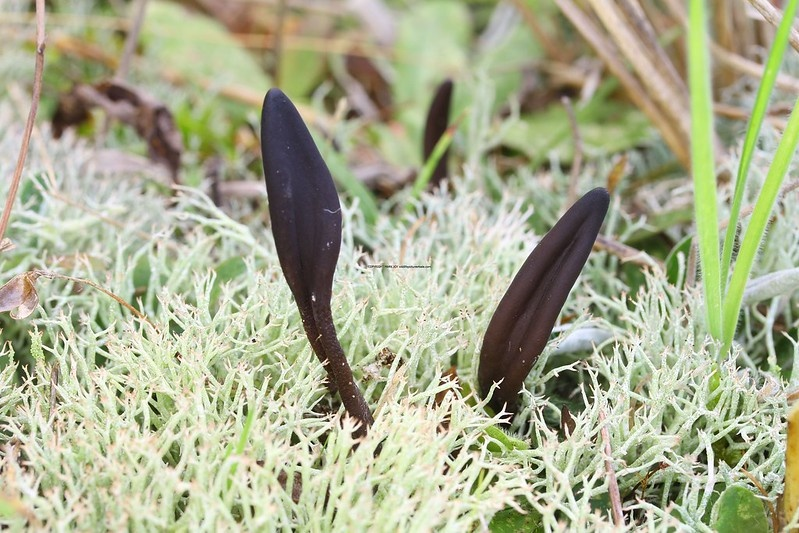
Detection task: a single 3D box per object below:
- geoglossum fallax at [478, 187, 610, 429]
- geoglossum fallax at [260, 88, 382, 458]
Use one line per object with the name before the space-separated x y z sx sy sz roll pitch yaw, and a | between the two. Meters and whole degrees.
geoglossum fallax | 0.106 0.040 0.626 0.072 0.220 0.058 0 45 -7
geoglossum fallax | -0.064 0.003 0.582 0.060 0.230 0.162 -9 42 -23
